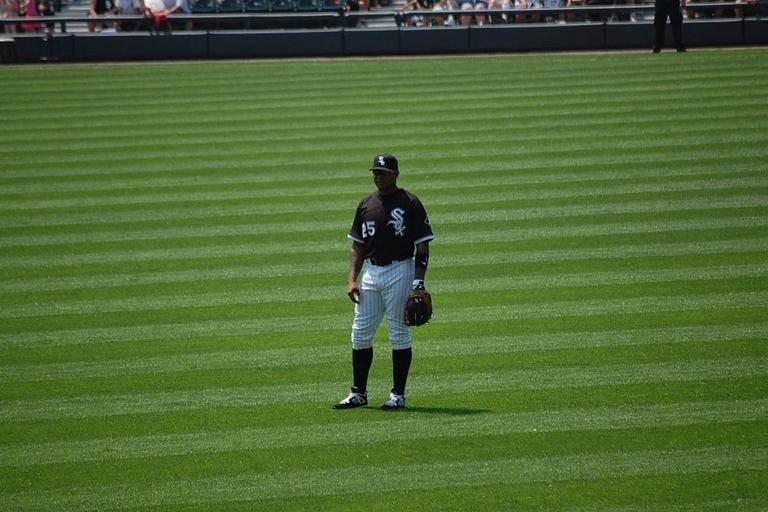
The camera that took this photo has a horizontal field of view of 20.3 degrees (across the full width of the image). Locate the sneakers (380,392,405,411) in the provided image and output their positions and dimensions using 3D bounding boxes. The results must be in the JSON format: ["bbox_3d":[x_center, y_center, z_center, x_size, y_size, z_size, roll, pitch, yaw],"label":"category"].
[{"bbox_3d":[0.167,2.146,31.625,0.380,0.188,0.174,0,-1,-9],"label":"sneakers"}]

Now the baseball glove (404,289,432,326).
[{"bbox_3d":[0.530,0.766,31.300,0.229,0.491,0.388,-6,-26,9],"label":"baseball glove"}]

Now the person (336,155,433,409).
[{"bbox_3d":[0.054,0.403,31.490,1.238,3.725,0.615,2,13,0],"label":"person"}]

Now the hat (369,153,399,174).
[{"bbox_3d":[0.094,-1.341,31.462,0.299,0.193,0.381,3,2,14],"label":"hat"}]
